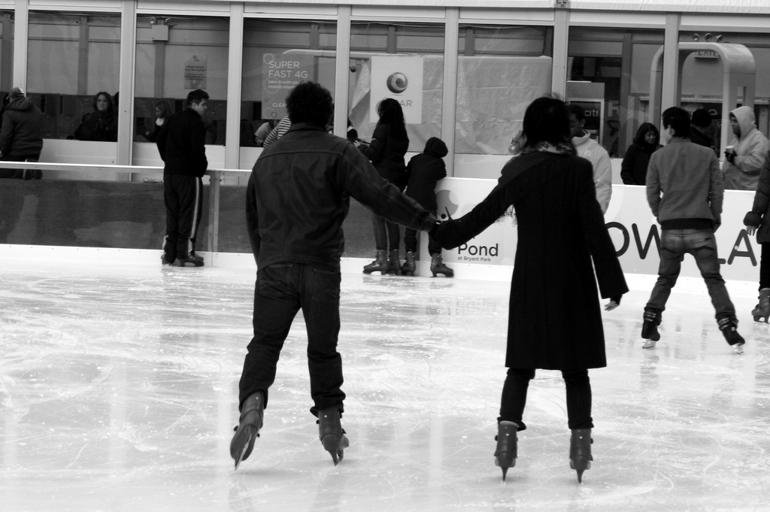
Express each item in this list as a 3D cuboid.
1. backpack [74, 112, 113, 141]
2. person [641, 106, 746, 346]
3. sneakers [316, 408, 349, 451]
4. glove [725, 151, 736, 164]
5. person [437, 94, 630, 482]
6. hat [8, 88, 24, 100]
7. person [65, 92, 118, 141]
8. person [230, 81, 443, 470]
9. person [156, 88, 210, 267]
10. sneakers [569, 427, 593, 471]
[{"bbox_3d":[-5.211,-2.387,15.234,0.494,0.444,0.254,5,0,-1],"label":"backpack"},{"bbox_3d":[2.815,-0.239,7.802,0.866,2.249,0.525,4,8,15],"label":"person"},{"bbox_3d":[-0.308,1.009,4.957,0.113,0.319,0.147,-4,27,1],"label":"sneakers"},{"bbox_3d":[4.563,-1.332,11.240,0.112,0.177,0.169,0,-4,24],"label":"glove"},{"bbox_3d":[0.898,0.168,4.860,0.949,2.167,0.518,3,7,5],"label":"person"},{"bbox_3d":[-6.064,-2.718,14.046,0.183,0.213,0.226,5,16,20],"label":"hat"},{"bbox_3d":[-5.055,-2.504,15.345,1.078,0.963,0.438,11,2,7],"label":"person"},{"bbox_3d":[-0.412,0.087,4.950,0.980,2.214,0.605,0,8,-14],"label":"person"},{"bbox_3d":[-2.970,-1.143,12.426,0.689,2.604,0.398,0,8,-11],"label":"person"},{"bbox_3d":[1.128,1.097,4.899,0.105,0.274,0.298,-1,4,14],"label":"sneakers"}]
